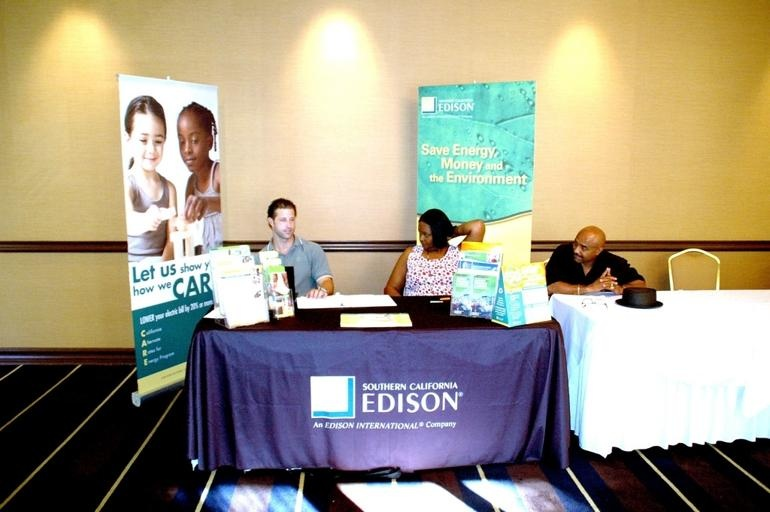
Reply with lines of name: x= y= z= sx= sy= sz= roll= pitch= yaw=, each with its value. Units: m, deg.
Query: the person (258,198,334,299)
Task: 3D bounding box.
person: x=-0.735 y=-0.063 z=4.860 sx=0.577 sy=0.816 sz=0.314 roll=-1 pitch=11 yaw=4

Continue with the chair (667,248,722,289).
chair: x=3.023 y=0.108 z=5.720 sx=0.411 sy=0.705 sz=0.413 roll=-1 pitch=-2 yaw=12

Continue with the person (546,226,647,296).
person: x=1.727 y=0.096 z=4.842 sx=0.835 sy=0.568 sz=0.412 roll=11 pitch=18 yaw=15
